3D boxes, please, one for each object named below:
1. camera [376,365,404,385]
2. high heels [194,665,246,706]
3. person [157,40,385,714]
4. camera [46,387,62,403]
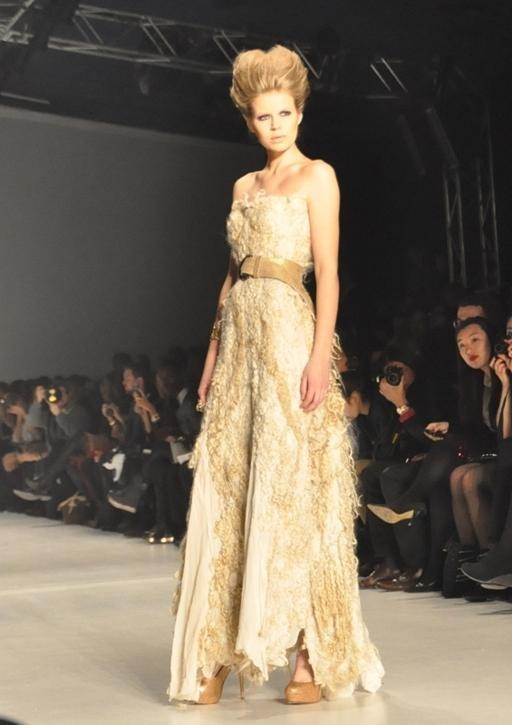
[{"bbox_3d":[0.641,0.061,3.540,0.119,0.062,0.112,-4,-2,13],"label":"camera"},{"bbox_3d":[-0.083,0.741,1.694,0.049,0.053,0.151,-2,2,18],"label":"high heels"},{"bbox_3d":[0.019,0.045,1.668,0.479,1.572,0.461,-2,4,13],"label":"person"},{"bbox_3d":[-1.636,0.266,5.935,0.135,0.128,0.034,43,7,39],"label":"camera"}]
